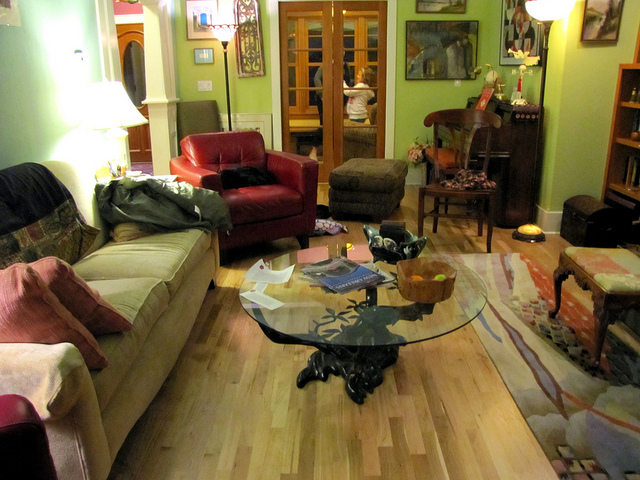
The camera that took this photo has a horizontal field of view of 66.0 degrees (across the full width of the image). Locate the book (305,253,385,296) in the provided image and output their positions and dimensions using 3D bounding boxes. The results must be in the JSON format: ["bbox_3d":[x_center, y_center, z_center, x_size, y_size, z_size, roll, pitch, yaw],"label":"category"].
[{"bbox_3d":[0.114,0.175,2.501,0.184,0.022,0.261,-20,32,-26],"label":"book"}]

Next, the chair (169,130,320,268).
[{"bbox_3d":[-0.689,-0.412,4.311,1.011,1.002,0.970,-12,22,-30],"label":"chair"}]

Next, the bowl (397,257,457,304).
[{"bbox_3d":[0.486,0.188,2.387,0.277,0.132,0.290,1,19,0],"label":"bowl"}]

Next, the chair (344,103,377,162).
[{"bbox_3d":[0.662,-1.466,6.603,0.540,0.745,0.767,8,24,25],"label":"chair"}]

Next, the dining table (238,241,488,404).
[{"bbox_3d":[0.167,0.485,2.482,1.213,0.554,0.845,7,25,19],"label":"dining table"}]

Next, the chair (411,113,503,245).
[{"bbox_3d":[1.219,-0.561,4.342,0.634,1.095,0.644,2,24,15],"label":"chair"}]

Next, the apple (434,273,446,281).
[{"bbox_3d":[0.557,0.177,2.292,0.050,0.020,0.069,3,24,10],"label":"apple"}]

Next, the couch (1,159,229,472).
[{"bbox_3d":[-0.967,0.348,2.308,0.466,0.605,1.358,-1,28,-8],"label":"couch"}]
